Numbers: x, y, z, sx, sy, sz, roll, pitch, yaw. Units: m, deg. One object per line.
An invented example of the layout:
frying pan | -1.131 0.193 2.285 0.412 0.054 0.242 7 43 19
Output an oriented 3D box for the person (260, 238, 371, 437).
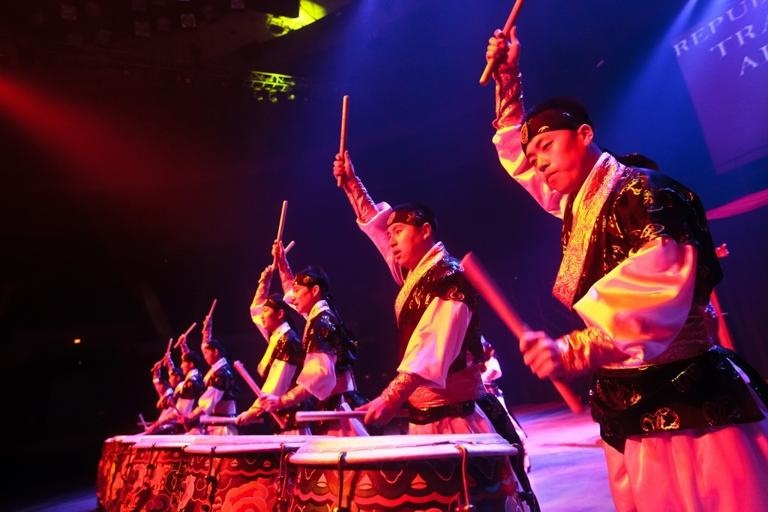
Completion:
person | -0.735 0.995 6.675 1.213 2.584 1.108 -1 -15 -17
